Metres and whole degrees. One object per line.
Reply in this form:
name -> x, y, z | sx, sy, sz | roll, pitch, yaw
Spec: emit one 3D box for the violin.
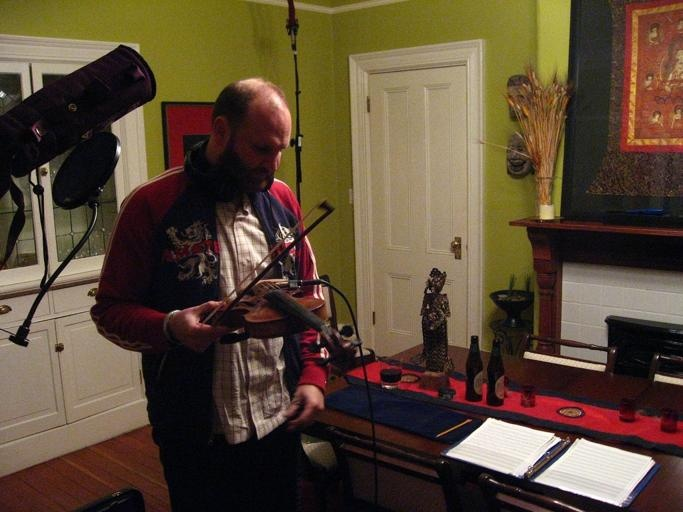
violin -> -0.150, 0.160, 1.494 | 0.228, 0.082, 0.584 | -17, 17, -27
